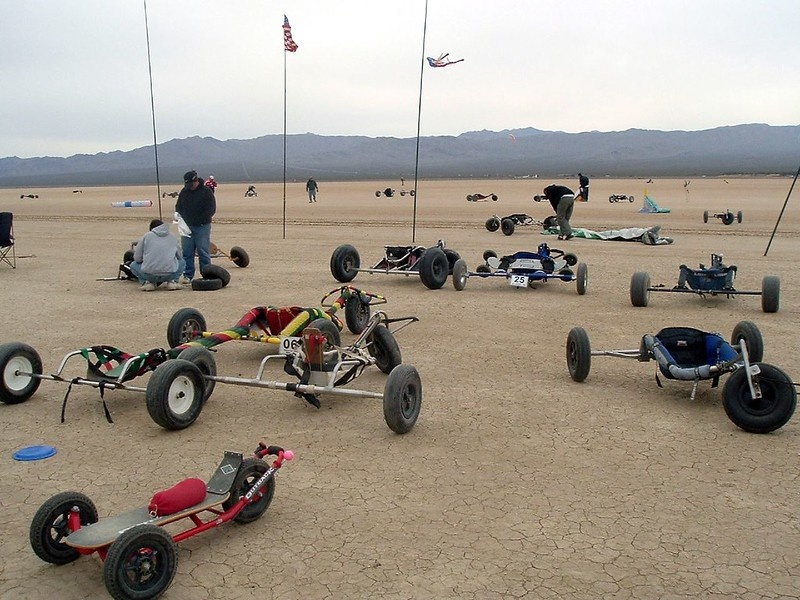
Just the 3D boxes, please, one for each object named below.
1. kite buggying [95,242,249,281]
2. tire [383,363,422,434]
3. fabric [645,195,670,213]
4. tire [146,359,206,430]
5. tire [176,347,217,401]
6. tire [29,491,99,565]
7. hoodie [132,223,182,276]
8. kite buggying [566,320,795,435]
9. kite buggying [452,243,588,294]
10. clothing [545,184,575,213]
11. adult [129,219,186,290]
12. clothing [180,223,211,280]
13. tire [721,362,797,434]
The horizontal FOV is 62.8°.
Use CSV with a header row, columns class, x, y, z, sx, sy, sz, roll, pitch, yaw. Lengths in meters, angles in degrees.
class,x,y,z,sx,sy,sz,roll,pitch,yaw
kite buggying,-5.041,-0.900,15.645,2.269,0.774,1.564,-1,8,0
tire,0.016,0.987,6.519,0.225,0.709,0.553,8,16,30
fabric,12.660,-4.641,32.488,1.095,0.798,2.287,5,14,20
tire,-2.240,0.961,6.554,0.246,0.730,0.623,6,15,23
tire,-2.153,0.776,6.865,0.190,0.544,0.539,2,10,26
tire,-2.350,1.617,4.591,0.204,0.548,0.496,13,5,34
hoodie,-4.849,-0.988,13.186,0.978,0.938,0.555,-4,12,-29
kite buggying,3.286,0.747,7.121,1.265,0.544,1.735,3,2,-10
kite buggying,2.571,-0.742,14.327,2.284,0.484,1.736,-18,6,-2
clothing,5.221,-3.234,20.976,1.038,0.444,0.764,10,4,-16
adult,-4.908,-0.899,13.392,1.083,1.459,0.874,-1,-4,-32
clothing,-4.397,-0.957,14.228,0.579,0.428,1.763,1,37,-14
tire,3.513,0.985,6.442,0.539,0.589,0.187,-20,-4,9
